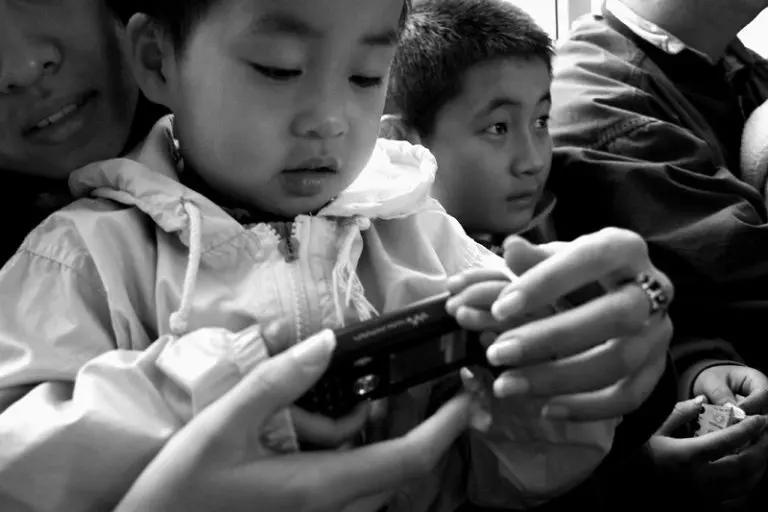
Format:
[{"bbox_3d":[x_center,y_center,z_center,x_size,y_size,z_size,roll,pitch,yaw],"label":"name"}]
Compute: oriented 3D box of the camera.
[{"bbox_3d":[0.016,0.142,0.960,0.268,0.155,0.044,-8,27,-18],"label":"camera"}]
